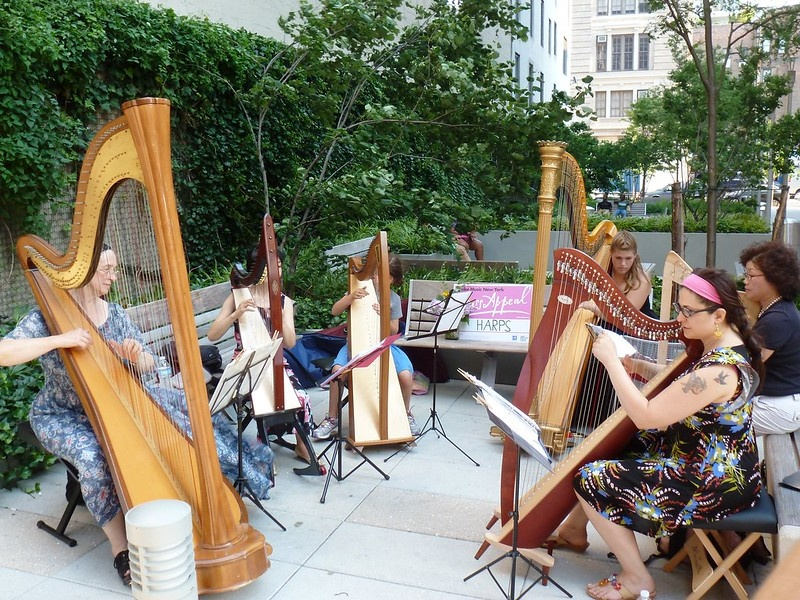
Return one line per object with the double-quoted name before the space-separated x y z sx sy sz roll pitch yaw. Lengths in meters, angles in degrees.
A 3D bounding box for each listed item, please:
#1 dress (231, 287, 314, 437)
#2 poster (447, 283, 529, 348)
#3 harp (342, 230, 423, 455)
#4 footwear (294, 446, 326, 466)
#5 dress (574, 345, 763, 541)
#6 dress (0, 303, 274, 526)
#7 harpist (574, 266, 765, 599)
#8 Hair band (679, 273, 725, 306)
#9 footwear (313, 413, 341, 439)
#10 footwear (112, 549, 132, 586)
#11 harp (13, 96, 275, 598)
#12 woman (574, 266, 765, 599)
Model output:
"dress" -0.885 0.685 5.816 0.390 1.584 0.410 -12 0 -40
"poster" 0.823 0.165 6.988 0.513 0.403 0.060 1 -10 14
"harp" -0.168 0.309 5.946 0.516 1.800 0.930 -2 12 0
"footwear" -0.709 1.187 5.795 0.294 0.126 0.103 2 3 39
"dress" 1.664 0.811 4.895 0.980 1.509 1.095 6 3 23
"dress" -1.698 0.757 4.805 1.584 1.083 0.488 35 24 20
"harpist" 1.549 0.787 4.348 1.011 1.913 0.461 1 12 14
"Hair band" 1.669 -0.059 4.196 0.174 0.074 0.146 35 7 -13
"footwear" -0.594 1.051 6.275 0.103 0.141 0.292 -2 1 22
"footwear" -1.710 1.603 4.589 0.107 0.134 0.316 1 3 -38
"harp" -1.503 0.277 4.455 0.641 2.776 1.604 -13 15 -40
"woman" 1.549 0.787 4.348 1.011 1.913 0.461 1 12 14
